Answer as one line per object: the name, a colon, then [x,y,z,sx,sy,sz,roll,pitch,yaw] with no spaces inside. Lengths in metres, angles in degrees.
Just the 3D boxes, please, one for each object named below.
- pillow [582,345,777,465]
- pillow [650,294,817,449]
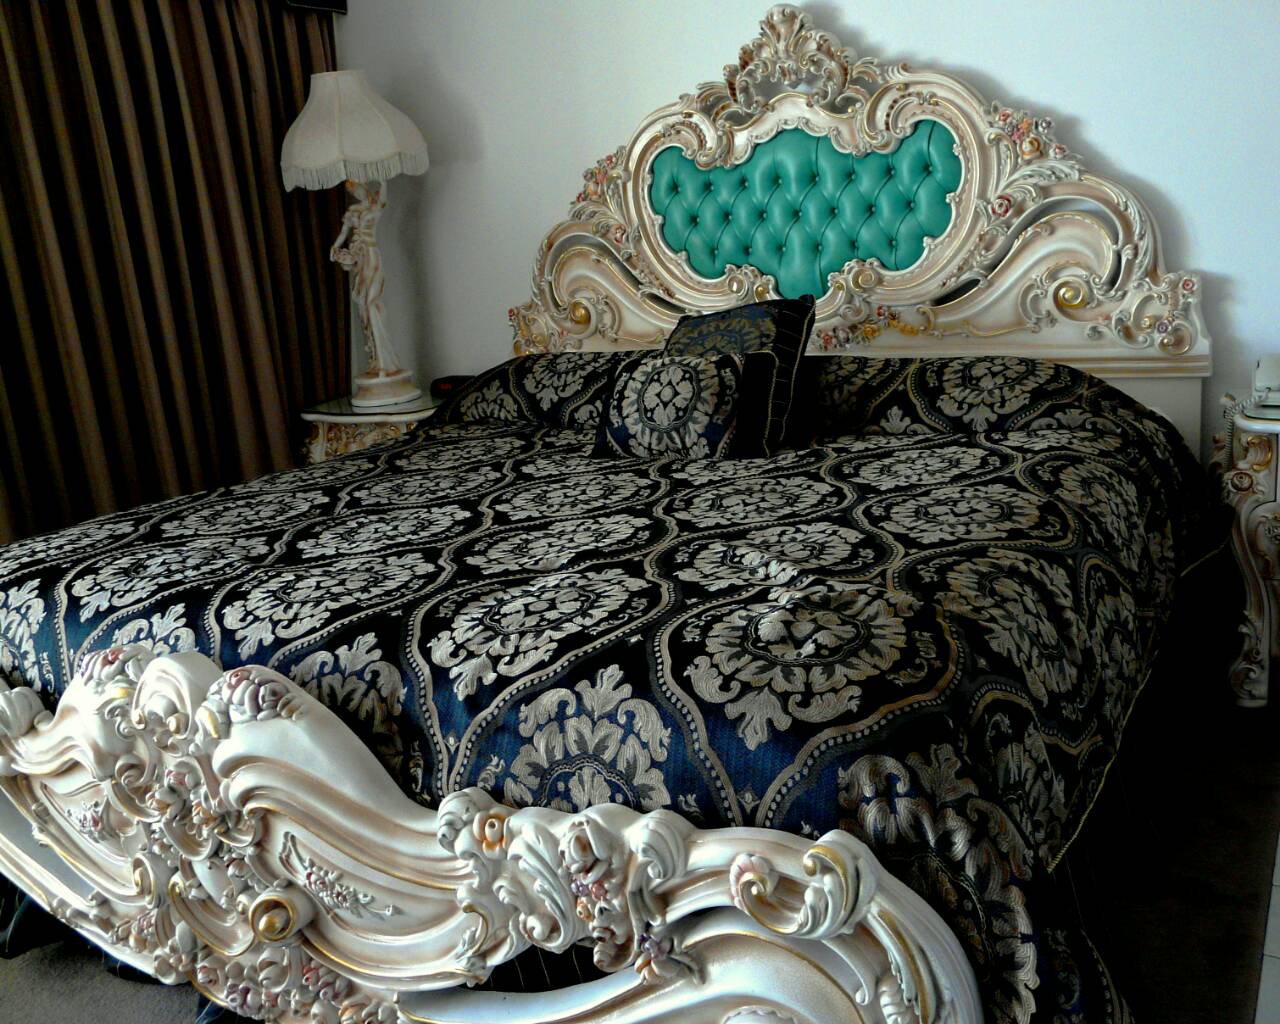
pillow: [0.118,-0.255,3.380,0.293,0.348,0.105,-2,-29,24]
pillow: [0.285,-0.406,3.477,0.117,0.443,0.373,23,-17,-39]
